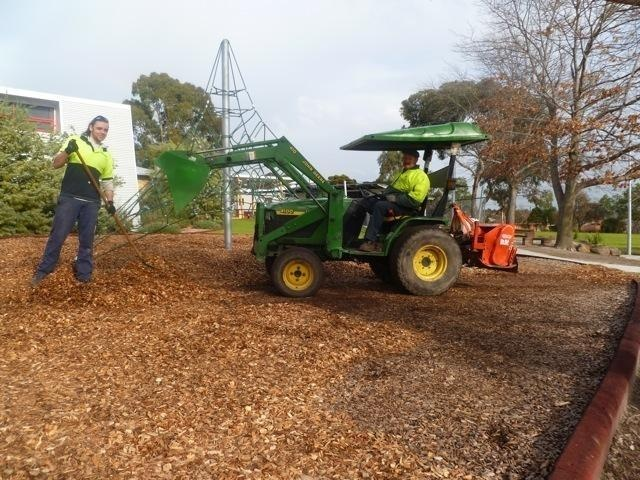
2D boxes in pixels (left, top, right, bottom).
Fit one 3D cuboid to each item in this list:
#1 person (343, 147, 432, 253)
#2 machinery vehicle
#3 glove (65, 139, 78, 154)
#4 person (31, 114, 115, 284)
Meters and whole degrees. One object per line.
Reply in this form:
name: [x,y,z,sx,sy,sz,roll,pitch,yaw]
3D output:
person: [1.051,-0.613,6.577,1.254,1.549,0.616,-3,13,-28]
machinery vehicle: [0.485,-0.476,6.931,5.893,2.279,1.750,0,14,-12]
glove: [-3.187,-1.188,5.435,0.121,0.187,0.178,1,11,-8]
person: [-3.204,-0.564,5.579,0.686,2.129,1.039,6,12,12]
